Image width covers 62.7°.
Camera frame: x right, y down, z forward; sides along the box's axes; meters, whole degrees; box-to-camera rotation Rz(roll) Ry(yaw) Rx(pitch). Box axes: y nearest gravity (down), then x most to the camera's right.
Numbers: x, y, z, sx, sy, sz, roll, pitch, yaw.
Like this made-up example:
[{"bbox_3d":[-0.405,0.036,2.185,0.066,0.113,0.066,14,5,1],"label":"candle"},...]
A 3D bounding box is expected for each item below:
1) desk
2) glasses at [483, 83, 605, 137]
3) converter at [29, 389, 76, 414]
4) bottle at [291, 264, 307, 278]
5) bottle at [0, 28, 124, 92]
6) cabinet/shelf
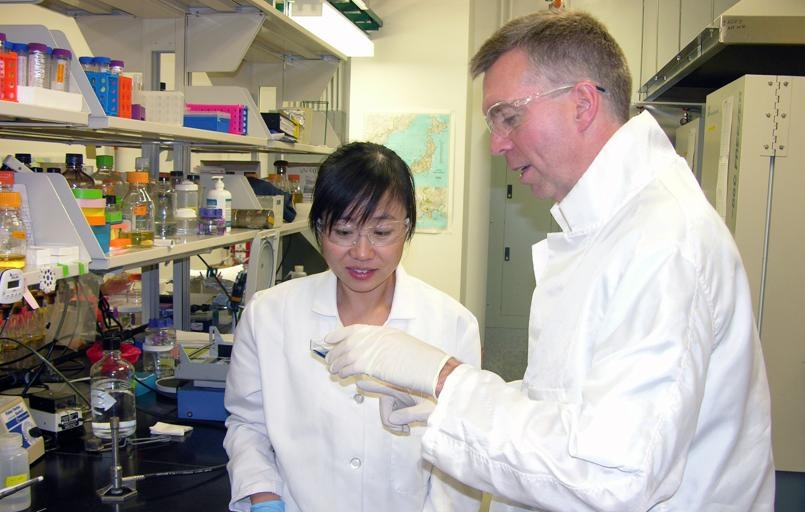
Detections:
[{"bbox_3d":[-1.122,0.636,2.627,0.722,0.466,0.838,-2,2,-25],"label":"desk"},{"bbox_3d":[0.386,-0.447,1.994,0.223,0.066,0.177,-21,11,18],"label":"glasses"},{"bbox_3d":[-1.389,0.578,2.611,0.100,0.046,0.104,4,5,34],"label":"converter"},{"bbox_3d":[-0.695,0.114,4.444,0.083,0.086,0.087,3,1,19],"label":"bottle"},{"bbox_3d":[-1.253,-0.686,2.316,0.282,0.249,0.132,-2,2,-28],"label":"bottle"},{"bbox_3d":[-1.070,-0.390,3.023,0.433,1.091,1.898,1,10,11],"label":"cabinet/shelf"}]
